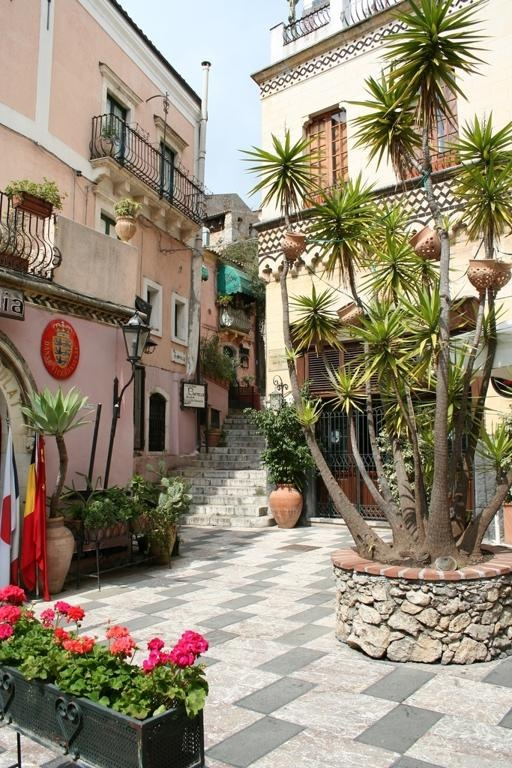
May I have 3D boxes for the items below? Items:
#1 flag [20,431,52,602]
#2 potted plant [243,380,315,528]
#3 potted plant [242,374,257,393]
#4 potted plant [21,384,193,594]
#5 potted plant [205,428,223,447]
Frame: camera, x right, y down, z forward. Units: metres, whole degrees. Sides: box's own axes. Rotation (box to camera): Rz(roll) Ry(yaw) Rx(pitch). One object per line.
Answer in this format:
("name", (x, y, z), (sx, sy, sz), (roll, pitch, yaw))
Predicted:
("flag", (-2.310, 1.369, 6.208), (0.275, 1.701, 0.426), (2, -7, -22))
("potted plant", (0.549, 1.637, 12.021), (1.210, 2.452, 0.905), (-1, -7, -1))
("potted plant", (-0.247, -0.096, 22.546), (0.532, 0.659, 0.530), (1, 1, 28))
("potted plant", (-2.253, 0.854, 7.498), (1.612, 2.775, 1.696), (3, 2, 35))
("potted plant", (-1.207, 1.573, 17.776), (0.436, 0.552, 0.553), (-5, -8, 30))
